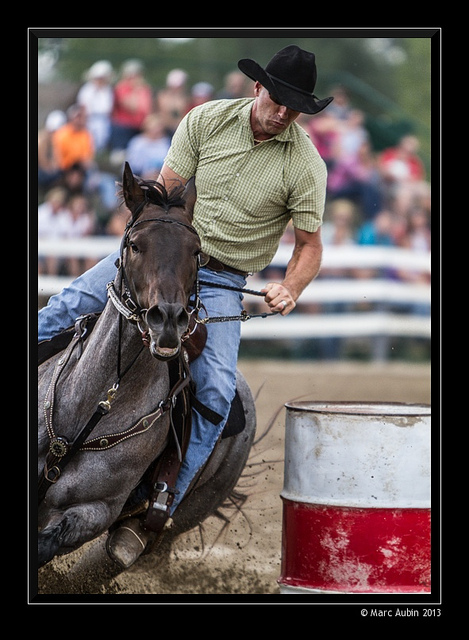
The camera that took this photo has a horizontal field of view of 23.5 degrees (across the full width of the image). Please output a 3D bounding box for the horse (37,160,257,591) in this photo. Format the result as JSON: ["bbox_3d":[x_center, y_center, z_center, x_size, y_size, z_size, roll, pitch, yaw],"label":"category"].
[{"bbox_3d":[-0.494,0.350,5.302,0.869,2.170,1.447,5,13,12],"label":"horse"}]

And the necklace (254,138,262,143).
[{"bbox_3d":[0.120,-0.913,5.788,0.036,0.015,0.039,2,12,1],"label":"necklace"}]

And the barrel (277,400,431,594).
[{"bbox_3d":[0.654,0.903,5.953,1.001,0.888,0.811,1,0,10],"label":"barrel"}]
